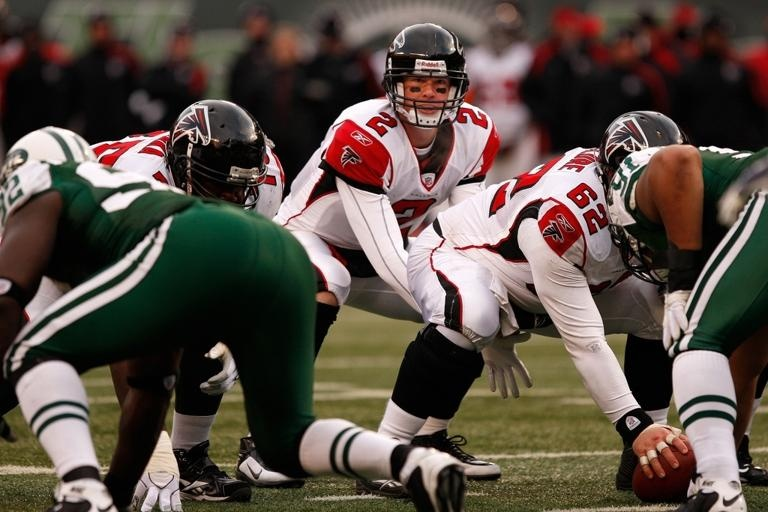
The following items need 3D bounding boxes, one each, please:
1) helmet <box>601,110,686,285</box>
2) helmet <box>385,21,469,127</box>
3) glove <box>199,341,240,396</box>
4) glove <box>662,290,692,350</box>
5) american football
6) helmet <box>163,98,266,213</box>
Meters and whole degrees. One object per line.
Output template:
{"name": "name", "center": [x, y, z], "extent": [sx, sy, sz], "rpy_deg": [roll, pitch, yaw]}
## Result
{"name": "helmet", "center": [0.966, -0.222, 3.711], "extent": [0.329, 0.666, 0.379], "rpy_deg": [8, 9, 15]}
{"name": "helmet", "center": [0.183, -0.815, 4.350], "extent": [0.385, 0.474, 0.280], "rpy_deg": [6, 8, 5]}
{"name": "glove", "center": [-0.641, 0.440, 3.726], "extent": [0.132, 0.235, 0.138], "rpy_deg": [4, 9, -11]}
{"name": "glove", "center": [0.994, 0.218, 3.291], "extent": [0.071, 0.183, 0.124], "rpy_deg": [22, -13, -33]}
{"name": "american football", "center": [1.055, 0.808, 3.665], "extent": [0.196, 0.146, 0.253], "rpy_deg": [0, 3, 9]}
{"name": "helmet", "center": [-0.650, -0.369, 3.723], "extent": [0.335, 0.350, 0.429], "rpy_deg": [-9, 45, -41]}
